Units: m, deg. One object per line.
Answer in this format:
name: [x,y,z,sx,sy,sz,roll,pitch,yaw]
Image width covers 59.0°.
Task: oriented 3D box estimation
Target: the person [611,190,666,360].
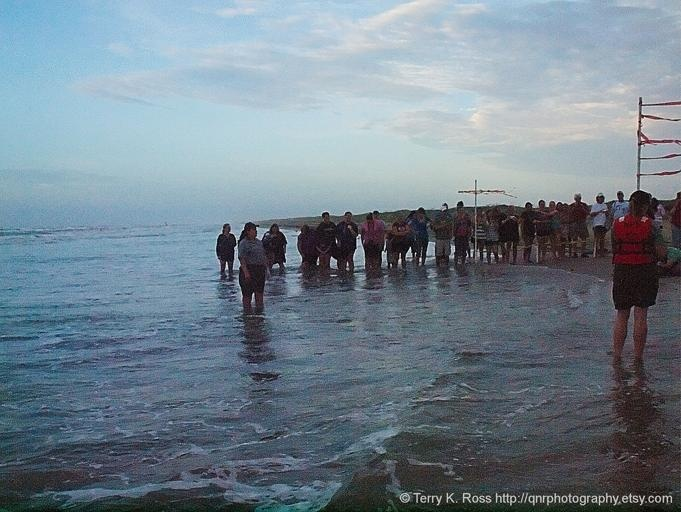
person: [4.257,0.271,8.657,0.599,2.407,0.442,0,2,18]
